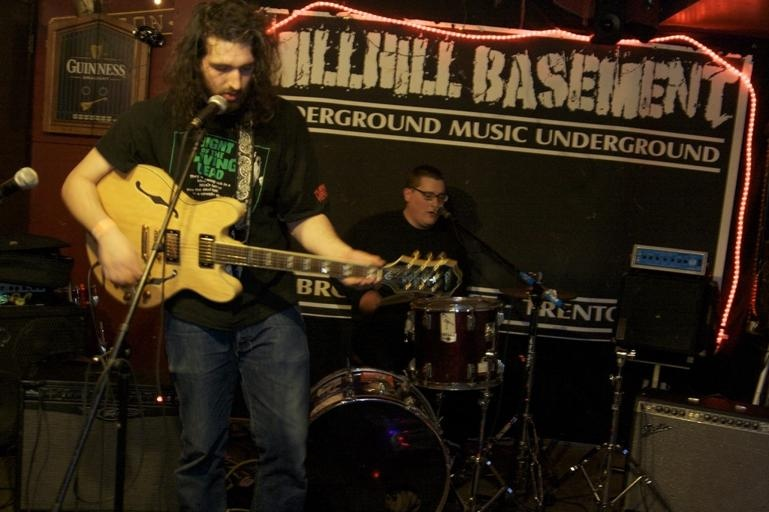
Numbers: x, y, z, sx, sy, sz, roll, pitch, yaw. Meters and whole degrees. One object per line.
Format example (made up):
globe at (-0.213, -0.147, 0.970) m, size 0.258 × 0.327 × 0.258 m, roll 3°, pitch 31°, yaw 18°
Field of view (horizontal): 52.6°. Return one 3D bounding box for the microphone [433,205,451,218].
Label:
microphone at (0.441, -0.336, 5.896) m, size 0.066 × 0.064 × 0.213 m, roll -3°, pitch 6°, yaw -18°

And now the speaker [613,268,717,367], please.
speaker at (2.211, 0.486, 6.599) m, size 1.016 × 0.744 × 1.008 m, roll 7°, pitch 2°, yaw 29°

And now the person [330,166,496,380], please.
person at (0.205, 0.372, 6.853) m, size 1.237 × 2.387 × 0.763 m, roll 3°, pitch 22°, yaw -9°

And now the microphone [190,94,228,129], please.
microphone at (-1.031, -0.861, 4.591) m, size 0.258 × 0.215 × 0.101 m, roll 3°, pitch 5°, yaw -41°

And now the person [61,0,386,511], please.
person at (-0.970, -0.015, 4.855) m, size 1.651 × 3.168 × 0.657 m, roll 5°, pitch 4°, yaw -18°

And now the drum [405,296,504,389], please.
drum at (0.536, 0.607, 5.921) m, size 0.737 × 0.653 × 0.716 m, roll 7°, pitch 13°, yaw 36°

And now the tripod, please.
tripod at (1.477, 1.199, 6.253) m, size 1.627 × 1.383 × 0.796 m, roll 3°, pitch -3°, yaw 5°
